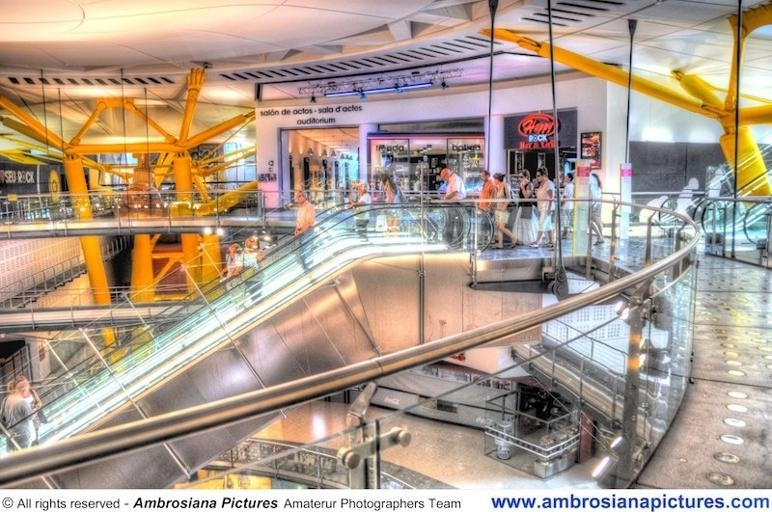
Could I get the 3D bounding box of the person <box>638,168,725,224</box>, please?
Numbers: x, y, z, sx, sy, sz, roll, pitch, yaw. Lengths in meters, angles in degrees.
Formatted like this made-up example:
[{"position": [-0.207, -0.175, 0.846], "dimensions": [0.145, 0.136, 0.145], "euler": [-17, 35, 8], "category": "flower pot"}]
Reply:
[{"position": [6.959, -1.413, 12.260], "dimensions": [0.613, 0.761, 1.976], "euler": [13, -10, -32], "category": "person"}]
